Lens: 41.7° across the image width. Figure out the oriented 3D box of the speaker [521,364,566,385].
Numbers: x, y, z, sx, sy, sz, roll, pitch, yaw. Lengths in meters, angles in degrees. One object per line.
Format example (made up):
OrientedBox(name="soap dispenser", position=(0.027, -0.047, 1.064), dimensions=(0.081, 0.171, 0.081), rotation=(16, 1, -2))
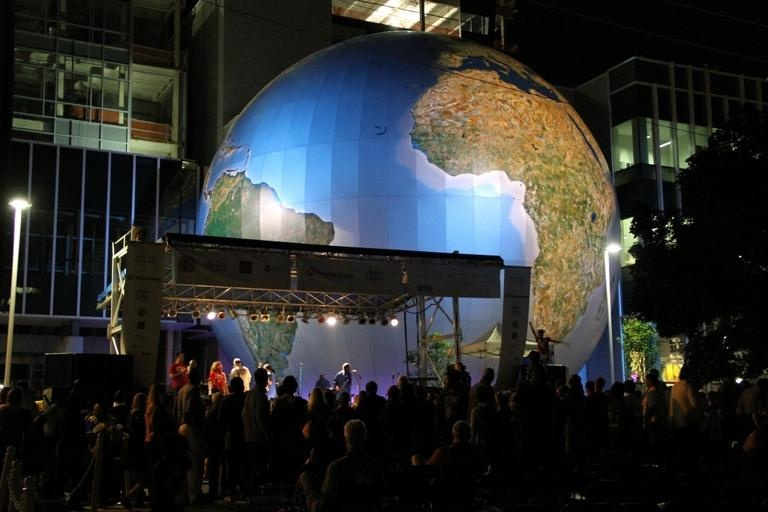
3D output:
OrientedBox(name="speaker", position=(4.658, 3.487, 29.352), dimensions=(0.958, 0.685, 0.524), rotation=(3, -8, -26))
